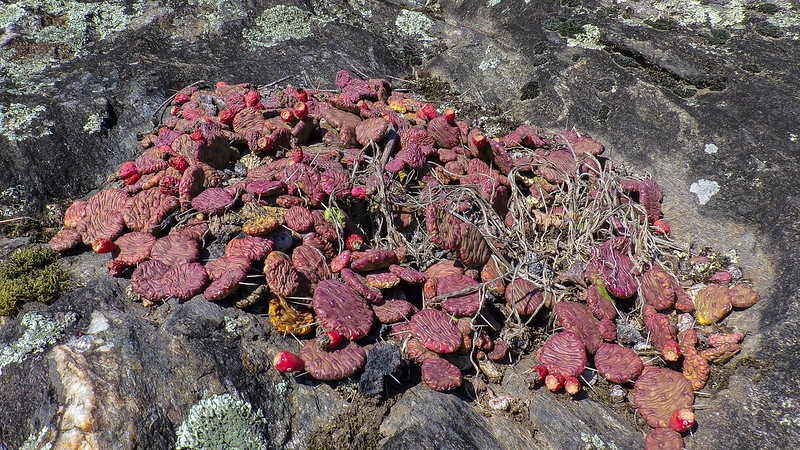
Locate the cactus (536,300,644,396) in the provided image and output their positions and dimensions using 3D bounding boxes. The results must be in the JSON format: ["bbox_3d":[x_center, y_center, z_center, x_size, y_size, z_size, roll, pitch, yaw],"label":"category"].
[{"bbox_3d":[3.308,2.233,12.430,1.724,0.797,1.415,14,46,1],"label":"cactus"}]

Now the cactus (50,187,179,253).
[{"bbox_3d":[-5.096,-0.146,12.713,1.949,0.415,1.092,-27,65,-6],"label":"cactus"}]

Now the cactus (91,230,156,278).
[{"bbox_3d":[-4.752,0.461,12.435,0.856,0.206,0.732,-25,51,-8],"label":"cactus"}]

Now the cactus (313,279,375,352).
[{"bbox_3d":[-1.023,1.448,12.208,1.157,0.381,1.304,14,39,-27],"label":"cactus"}]

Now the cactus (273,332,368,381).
[{"bbox_3d":[-1.228,2.167,11.649,1.225,0.324,0.810,-2,52,-8],"label":"cactus"}]
